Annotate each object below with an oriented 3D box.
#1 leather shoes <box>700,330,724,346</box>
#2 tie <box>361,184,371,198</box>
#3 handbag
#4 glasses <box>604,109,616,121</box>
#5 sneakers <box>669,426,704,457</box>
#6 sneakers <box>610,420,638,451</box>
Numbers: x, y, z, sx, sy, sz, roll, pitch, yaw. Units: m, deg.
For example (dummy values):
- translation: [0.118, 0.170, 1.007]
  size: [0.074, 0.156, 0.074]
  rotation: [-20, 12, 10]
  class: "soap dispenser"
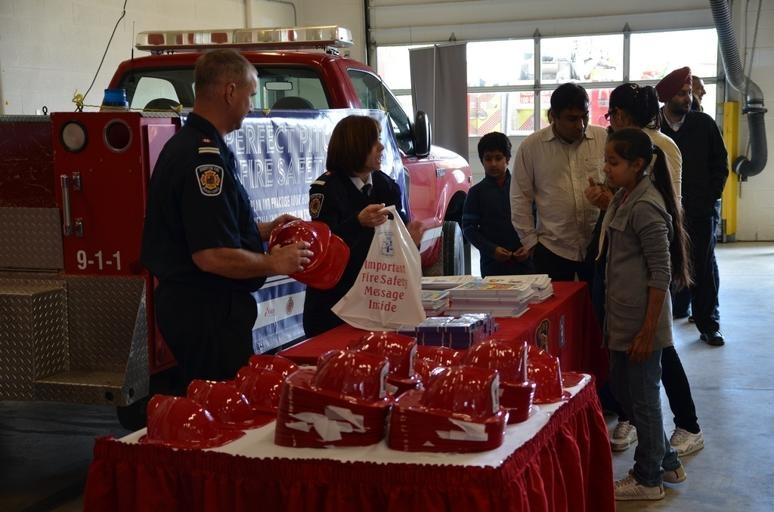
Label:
- translation: [3.048, 0.770, 6.036]
  size: [0.089, 0.099, 0.246]
  rotation: [-1, 0, -8]
  class: "leather shoes"
- translation: [-0.115, -0.367, 3.571]
  size: [0.046, 0.065, 0.019]
  rotation: [2, 1, -29]
  class: "tie"
- translation: [-0.059, 0.065, 3.129]
  size: [0.498, 0.572, 0.386]
  rotation: [11, 16, 16]
  class: "handbag"
- translation: [1.449, -0.908, 4.141]
  size: [0.028, 0.093, 0.090]
  rotation: [4, 13, 6]
  class: "glasses"
- translation: [1.874, 1.171, 4.108]
  size: [0.369, 0.164, 0.129]
  rotation: [5, -8, -44]
  class: "sneakers"
- translation: [1.513, 1.163, 4.135]
  size: [0.145, 0.177, 0.386]
  rotation: [-2, -5, 24]
  class: "sneakers"
